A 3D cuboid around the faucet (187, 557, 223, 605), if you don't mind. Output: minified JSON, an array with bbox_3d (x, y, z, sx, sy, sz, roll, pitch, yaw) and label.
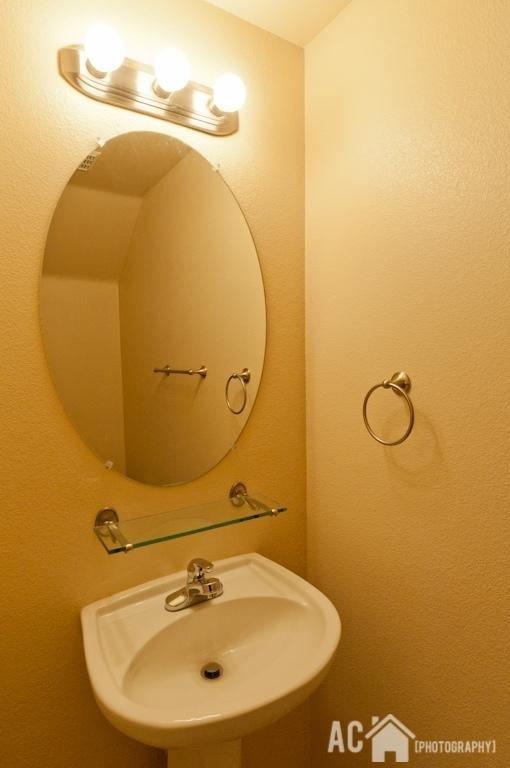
[{"bbox_3d":[-0.123,0.465,1.488,0.104,0.095,0.063,-8,9,-31],"label":"faucet"}]

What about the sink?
[{"bbox_3d":[-0.091,0.575,1.343,0.558,0.133,0.456,-9,16,-35],"label":"sink"}]

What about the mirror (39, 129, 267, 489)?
[{"bbox_3d":[-0.214,-0.176,1.506,0.177,0.831,0.607,11,17,40],"label":"mirror"}]
